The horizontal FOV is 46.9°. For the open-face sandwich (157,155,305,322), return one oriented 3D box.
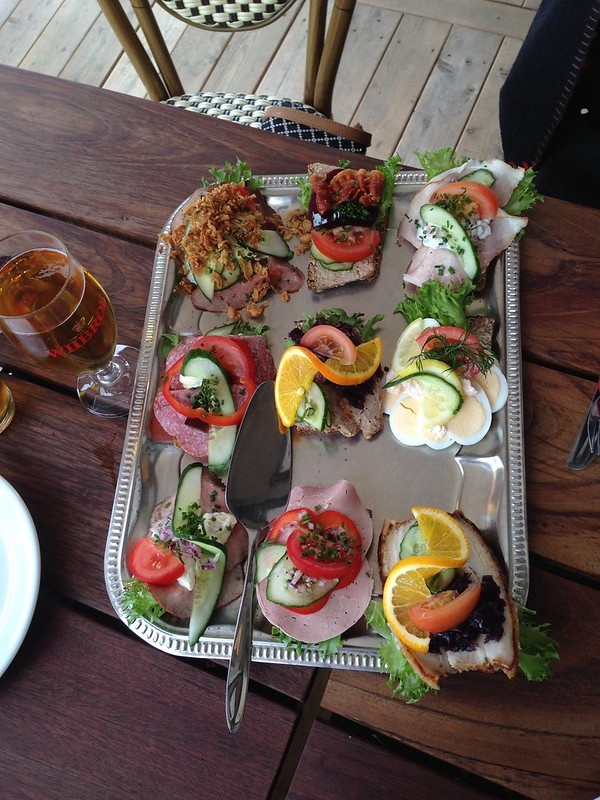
[{"bbox_3d":[-0.179,-0.421,2.073,0.513,0.182,0.452,6,69,-1],"label":"open-face sandwich"}]

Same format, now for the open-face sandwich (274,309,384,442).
[{"bbox_3d":[0.094,-0.058,1.870,0.289,0.107,0.323,2,73,4],"label":"open-face sandwich"}]

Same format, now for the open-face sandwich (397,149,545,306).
[{"bbox_3d":[0.463,-0.464,1.942,0.381,0.146,0.370,16,102,16],"label":"open-face sandwich"}]

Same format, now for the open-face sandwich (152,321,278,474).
[{"bbox_3d":[-0.219,0.015,1.786,0.384,0.127,0.338,-9,73,8],"label":"open-face sandwich"}]

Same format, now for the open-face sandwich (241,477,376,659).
[{"bbox_3d":[0.035,0.374,1.634,0.272,0.149,0.379,2,78,2],"label":"open-face sandwich"}]

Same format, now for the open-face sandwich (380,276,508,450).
[{"bbox_3d":[0.369,-0.072,1.785,0.319,0.160,0.436,2,73,18],"label":"open-face sandwich"}]
